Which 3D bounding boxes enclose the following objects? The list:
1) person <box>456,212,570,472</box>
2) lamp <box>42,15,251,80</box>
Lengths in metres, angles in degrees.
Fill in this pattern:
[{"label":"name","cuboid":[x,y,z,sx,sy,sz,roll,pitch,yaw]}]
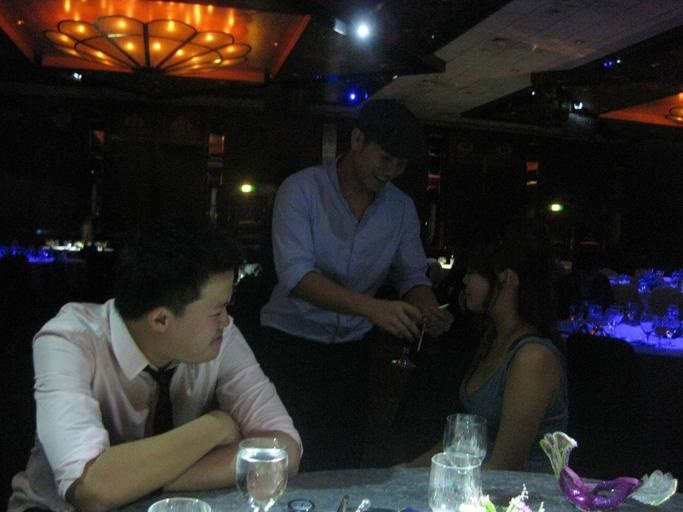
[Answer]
[{"label":"person","cuboid":[0.696,0.335,2.223,0.377,0.934,0.442,1,4,-9]},{"label":"lamp","cuboid":[-1.488,-1.626,4.483,1.542,0.336,1.164,1,4,-13]}]
